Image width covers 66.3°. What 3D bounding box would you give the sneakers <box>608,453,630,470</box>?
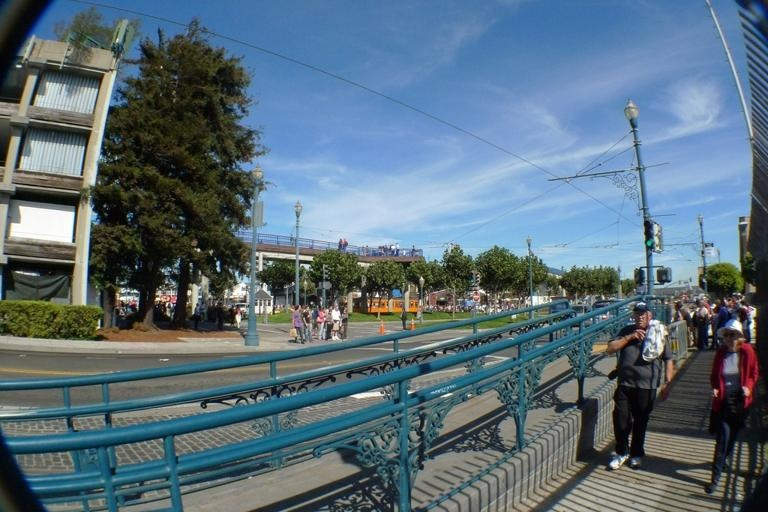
[{"bbox_3d":[3.822,3.361,9.660,0.481,0.199,0.158,7,-17,-35],"label":"sneakers"}]

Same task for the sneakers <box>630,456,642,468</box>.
[{"bbox_3d":[4.102,3.352,9.620,0.216,0.174,0.105,2,-5,-3],"label":"sneakers"}]

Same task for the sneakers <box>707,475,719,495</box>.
[{"bbox_3d":[5.068,3.514,9.107,0.139,0.223,0.413,-3,-7,40],"label":"sneakers"}]

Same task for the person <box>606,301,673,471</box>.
[{"bbox_3d":[4.136,2.112,9.705,0.894,2.689,0.408,0,-5,14],"label":"person"}]

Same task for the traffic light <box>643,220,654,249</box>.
[{"bbox_3d":[8.598,-0.712,19.126,0.246,0.912,0.156,-1,-5,27],"label":"traffic light"}]

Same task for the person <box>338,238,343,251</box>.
[{"bbox_3d":[-4.906,-1.155,66.619,0.404,1.128,0.945,2,-5,-2],"label":"person"}]

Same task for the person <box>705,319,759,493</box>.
[{"bbox_3d":[5.511,2.314,9.504,0.957,2.533,0.544,4,-5,-29],"label":"person"}]

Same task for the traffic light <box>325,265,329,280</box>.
[{"bbox_3d":[-3.204,0.829,32.043,0.254,0.845,1.527,2,-5,-10],"label":"traffic light"}]
